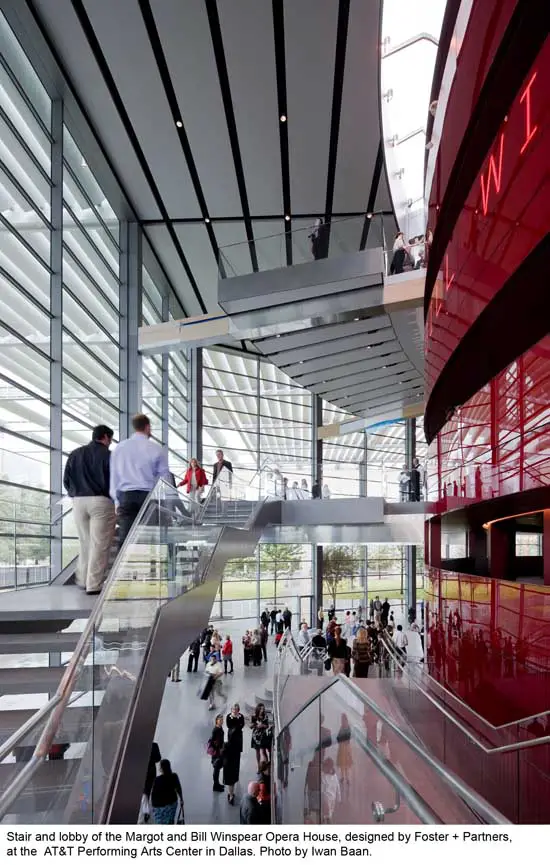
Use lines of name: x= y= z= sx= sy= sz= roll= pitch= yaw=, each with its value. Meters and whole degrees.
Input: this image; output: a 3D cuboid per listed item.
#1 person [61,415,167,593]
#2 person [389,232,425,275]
person: x=-1.559 y=0.681 z=5.867 sx=1.010 sy=1.738 sz=0.604 roll=-3 pitch=-8 yaw=17
person: x=2.685 y=-3.711 z=12.424 sx=0.740 sy=0.990 sz=0.239 roll=-4 pitch=-9 yaw=25
